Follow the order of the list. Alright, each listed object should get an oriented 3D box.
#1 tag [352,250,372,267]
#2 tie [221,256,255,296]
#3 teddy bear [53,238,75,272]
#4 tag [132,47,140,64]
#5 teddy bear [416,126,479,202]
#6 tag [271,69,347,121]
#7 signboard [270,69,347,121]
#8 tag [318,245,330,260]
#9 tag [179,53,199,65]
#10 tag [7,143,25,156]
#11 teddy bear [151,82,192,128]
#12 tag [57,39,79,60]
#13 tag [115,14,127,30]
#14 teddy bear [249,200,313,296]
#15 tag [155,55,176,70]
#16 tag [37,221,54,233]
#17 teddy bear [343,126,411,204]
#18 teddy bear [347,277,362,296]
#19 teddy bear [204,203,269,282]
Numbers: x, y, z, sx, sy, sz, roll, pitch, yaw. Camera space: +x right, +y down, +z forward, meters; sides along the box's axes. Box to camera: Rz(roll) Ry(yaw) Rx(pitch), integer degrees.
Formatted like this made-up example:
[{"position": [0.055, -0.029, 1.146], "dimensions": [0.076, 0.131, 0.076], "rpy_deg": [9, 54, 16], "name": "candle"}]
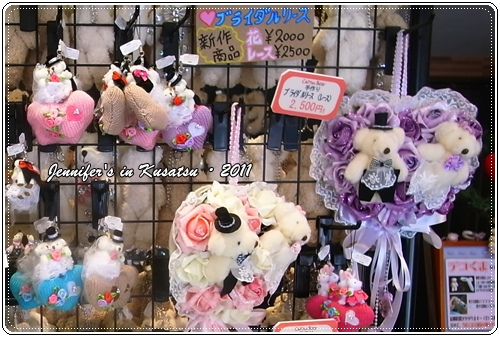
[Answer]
[{"position": [0.437, 0.358, 1.994], "dimensions": [0.071, 0.042, 0.016], "rpy_deg": [21, 7, 15], "name": "tag"}, {"position": [-0.042, 0.372, 1.831], "dimensions": [0.040, 0.138, 0.107], "rpy_deg": [33, 7, 28], "name": "tie"}, {"position": [-0.692, 0.325, 1.921], "dimensions": [0.065, 0.112, 0.048], "rpy_deg": [-25, 0, -21], "name": "teddy bear"}, {"position": [-0.440, -0.439, 1.990], "dimensions": [0.014, 0.056, 0.039], "rpy_deg": [15, 6, 6], "name": "tag"}, {"position": [0.736, -0.027, 1.933], "dimensions": [0.203, 0.255, 0.103], "rpy_deg": [22, 1, -11], "name": "teddy bear"}, {"position": [0.221, -0.274, 1.940], "dimensions": [0.201, 0.138, 0.021], "rpy_deg": [9, 19, -10], "name": "tag"}, {"position": [0.221, -0.273, 1.939], "dimensions": [0.199, 0.142, 0.022], "rpy_deg": [9, 20, -10], "name": "signboard"}, {"position": [0.292, 0.333, 2.020], "dimensions": [0.031, 0.061, 0.014], "rpy_deg": [34, -10, 4], "name": "tag"}, {"position": [-0.225, -0.411, 1.929], "dimensions": [0.045, 0.030, 0.046], "rpy_deg": [0, 9, -12], "name": "tag"}, {"position": [-0.879, -0.071, 1.930], "dimensions": [0.048, 0.042, 0.038], "rpy_deg": [12, 13, 31], "name": "tag"}, {"position": [-0.284, -0.231, 1.896], "dimensions": [0.139, 0.156, 0.072], "rpy_deg": [-33, 18, -16], "name": "teddy bear"}, {"position": [-0.677, -0.437, 1.920], "dimensions": [0.079, 0.064, 0.026], "rpy_deg": [11, 3, -11], "name": "tag"}, {"position": [-0.479, -0.551, 1.915], "dimensions": [0.048, 0.045, 0.013], "rpy_deg": [21, 8, -39], "name": "tag"}, {"position": [0.115, 0.297, 1.902], "dimensions": [0.192, 0.345, 0.170], "rpy_deg": [20, -13, -40], "name": "teddy bear"}, {"position": [-0.311, -0.402, 1.904], "dimensions": [0.071, 0.036, 0.013], "rpy_deg": [-23, 12, -9], "name": "tag"}, {"position": [-0.780, 0.226, 1.950], "dimensions": [0.039, 0.032, 0.051], "rpy_deg": [-19, -8, -12], "name": "tag"}, {"position": [0.474, -0.024, 1.903], "dimensions": [0.259, 0.276, 0.152], "rpy_deg": [0, 13, -1], "name": "teddy bear"}, {"position": [0.397, 0.448, 1.950], "dimensions": [0.052, 0.033, 0.081], "rpy_deg": [-30, 4, 27], "name": "teddy bear"}, {"position": [-0.053, 0.269, 1.832], "dimensions": [0.249, 0.316, 0.200], "rpy_deg": [-5, 35, -4], "name": "teddy bear"}]
